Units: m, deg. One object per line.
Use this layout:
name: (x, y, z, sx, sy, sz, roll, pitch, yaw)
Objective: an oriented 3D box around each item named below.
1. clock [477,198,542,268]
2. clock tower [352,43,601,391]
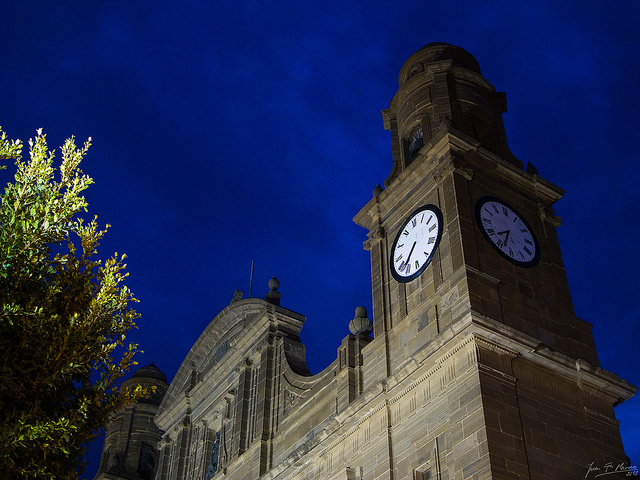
clock: (6.524, -0.147, 29.383, 0.193, 2.311, 2.180, -35, -33, 33)
clock tower: (4.840, -1.047, 32.796, 8.033, 16.812, 8.830, -2, -38, 3)
